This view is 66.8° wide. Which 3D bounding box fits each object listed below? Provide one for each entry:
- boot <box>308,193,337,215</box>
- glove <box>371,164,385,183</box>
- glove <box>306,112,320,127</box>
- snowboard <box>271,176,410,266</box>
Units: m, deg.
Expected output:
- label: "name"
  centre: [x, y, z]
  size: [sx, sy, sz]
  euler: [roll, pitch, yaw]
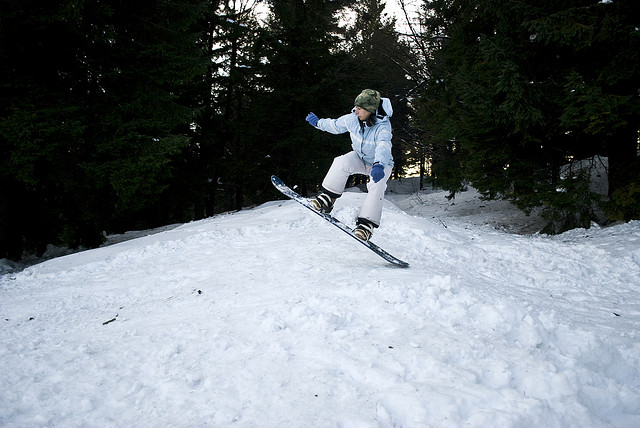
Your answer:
- label: "boot"
  centre: [0.056, -0.193, 9.504]
  size: [0.312, 0.220, 0.665]
  euler: [-44, -23, 26]
- label: "glove"
  centre: [1.091, -0.757, 9.074]
  size: [0.241, 0.338, 0.299]
  euler: [-2, 7, 9]
- label: "glove"
  centre: [-0.145, -1.916, 9.833]
  size: [0.108, 0.276, 0.223]
  euler: [-46, -17, 4]
- label: "snowboard"
  centre: [0.376, 0.143, 11.082]
  size: [0.324, 4.408, 0.482]
  euler: [-55, -15, 10]
